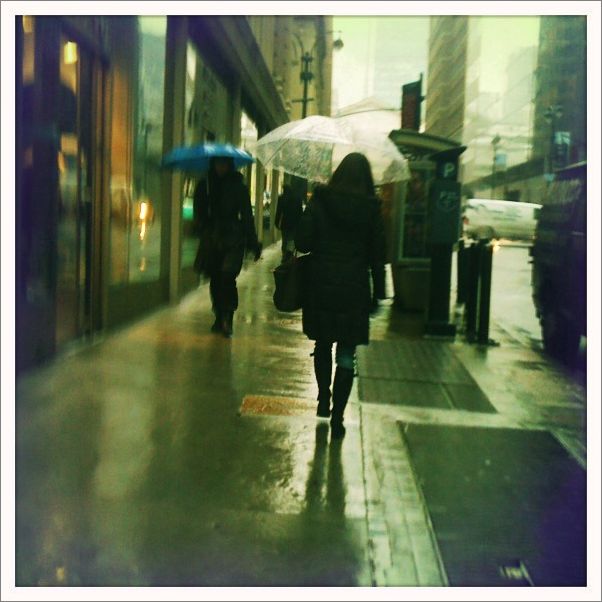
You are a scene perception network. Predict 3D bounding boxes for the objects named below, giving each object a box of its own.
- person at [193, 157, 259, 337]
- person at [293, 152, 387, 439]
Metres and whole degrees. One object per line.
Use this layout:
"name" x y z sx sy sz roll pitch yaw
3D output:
"person" -0.782 -0.521 7.135 0.687 1.921 0.389 5 8 28
"person" 0.262 -0.034 4.539 0.602 1.879 0.284 2 7 6
